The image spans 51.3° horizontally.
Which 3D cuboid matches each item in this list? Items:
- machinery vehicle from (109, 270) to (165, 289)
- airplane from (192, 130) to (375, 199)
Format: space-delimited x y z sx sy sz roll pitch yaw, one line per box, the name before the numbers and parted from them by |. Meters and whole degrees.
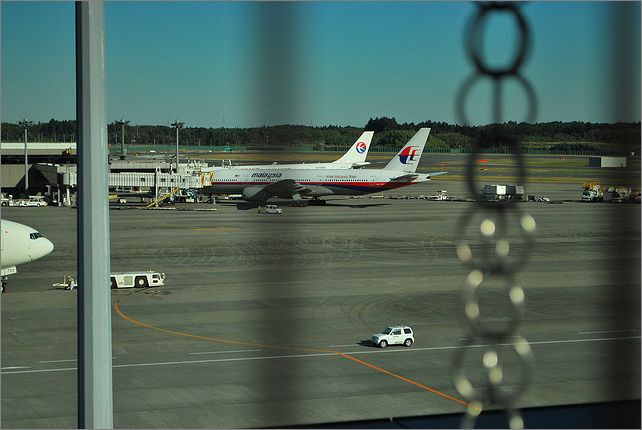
machinery vehicle | -10.006 3.525 36.465 3.344 0.655 1.767 -1 1 -6
airplane | -5.586 -7.934 98.524 26.319 5.604 18.488 -5 5 -5
